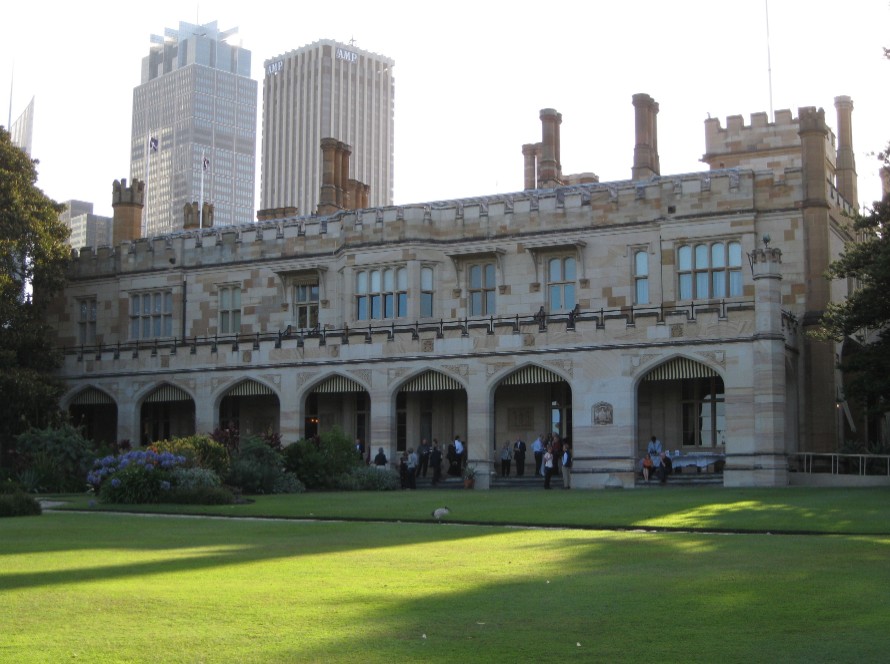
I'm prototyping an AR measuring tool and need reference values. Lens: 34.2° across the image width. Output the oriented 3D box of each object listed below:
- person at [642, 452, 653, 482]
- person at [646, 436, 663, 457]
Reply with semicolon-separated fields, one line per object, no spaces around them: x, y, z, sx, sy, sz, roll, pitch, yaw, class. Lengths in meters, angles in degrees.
6.215;4.133;44.069;0.314;0.844;1.251;-3;-2;8;person
6.327;3.425;44.195;0.683;0.775;0.435;-3;-11;18;person
